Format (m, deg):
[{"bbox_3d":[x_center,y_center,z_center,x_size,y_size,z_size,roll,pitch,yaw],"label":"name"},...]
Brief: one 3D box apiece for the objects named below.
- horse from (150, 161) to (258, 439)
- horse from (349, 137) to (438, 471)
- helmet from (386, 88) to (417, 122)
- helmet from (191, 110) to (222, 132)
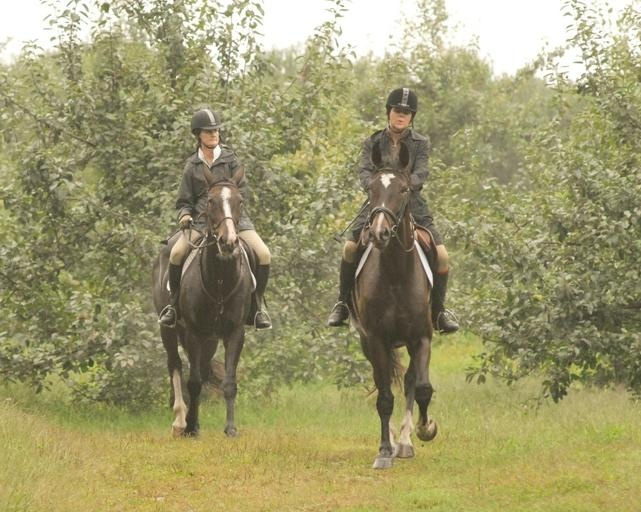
[{"bbox_3d":[-2.020,0.785,19.884,1.361,4.711,2.866,-3,4,-24],"label":"horse"},{"bbox_3d":[1.198,0.721,17.827,1.270,5.032,2.388,-1,4,3],"label":"horse"},{"bbox_3d":[1.325,-2.543,18.254,0.508,0.473,0.467,0,4,9],"label":"helmet"},{"bbox_3d":[-2.071,-2.433,19.880,0.338,0.272,0.461,-12,15,-43],"label":"helmet"}]
